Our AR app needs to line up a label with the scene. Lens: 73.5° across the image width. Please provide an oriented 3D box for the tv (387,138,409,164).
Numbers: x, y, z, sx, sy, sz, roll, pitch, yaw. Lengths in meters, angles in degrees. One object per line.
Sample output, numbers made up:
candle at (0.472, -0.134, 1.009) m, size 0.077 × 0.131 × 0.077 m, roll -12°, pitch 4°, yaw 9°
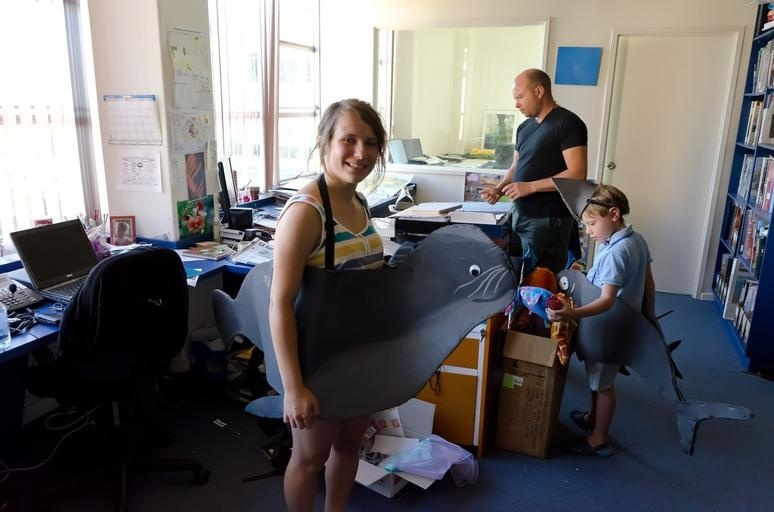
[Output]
tv at (0.124, -1.152, 5.673) m, size 0.221 × 0.256 × 0.162 m, roll -1°, pitch 19°, yaw -1°

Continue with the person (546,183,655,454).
person at (1.266, 0.408, 3.078) m, size 0.701 × 1.611 × 0.506 m, roll 1°, pitch 19°, yaw 4°

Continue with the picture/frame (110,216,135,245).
picture/frame at (-1.849, -0.183, 3.594) m, size 0.194 × 0.272 × 0.018 m, roll -1°, pitch 9°, yaw -10°

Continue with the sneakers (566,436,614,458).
sneakers at (1.265, 1.172, 3.211) m, size 0.209 × 0.078 × 0.116 m, roll 4°, pitch 5°, yaw 10°

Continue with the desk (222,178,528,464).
desk at (-0.005, 0.281, 2.046) m, size 1.403 × 0.630 × 0.528 m, roll -18°, pitch -18°, yaw 7°

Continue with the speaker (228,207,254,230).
speaker at (-1.097, -0.279, 3.842) m, size 0.152 × 0.145 × 0.079 m, roll 3°, pitch 12°, yaw 2°

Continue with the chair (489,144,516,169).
chair at (1.213, -1.050, 5.391) m, size 0.229 × 0.412 × 0.223 m, roll 5°, pitch 20°, yaw 16°
